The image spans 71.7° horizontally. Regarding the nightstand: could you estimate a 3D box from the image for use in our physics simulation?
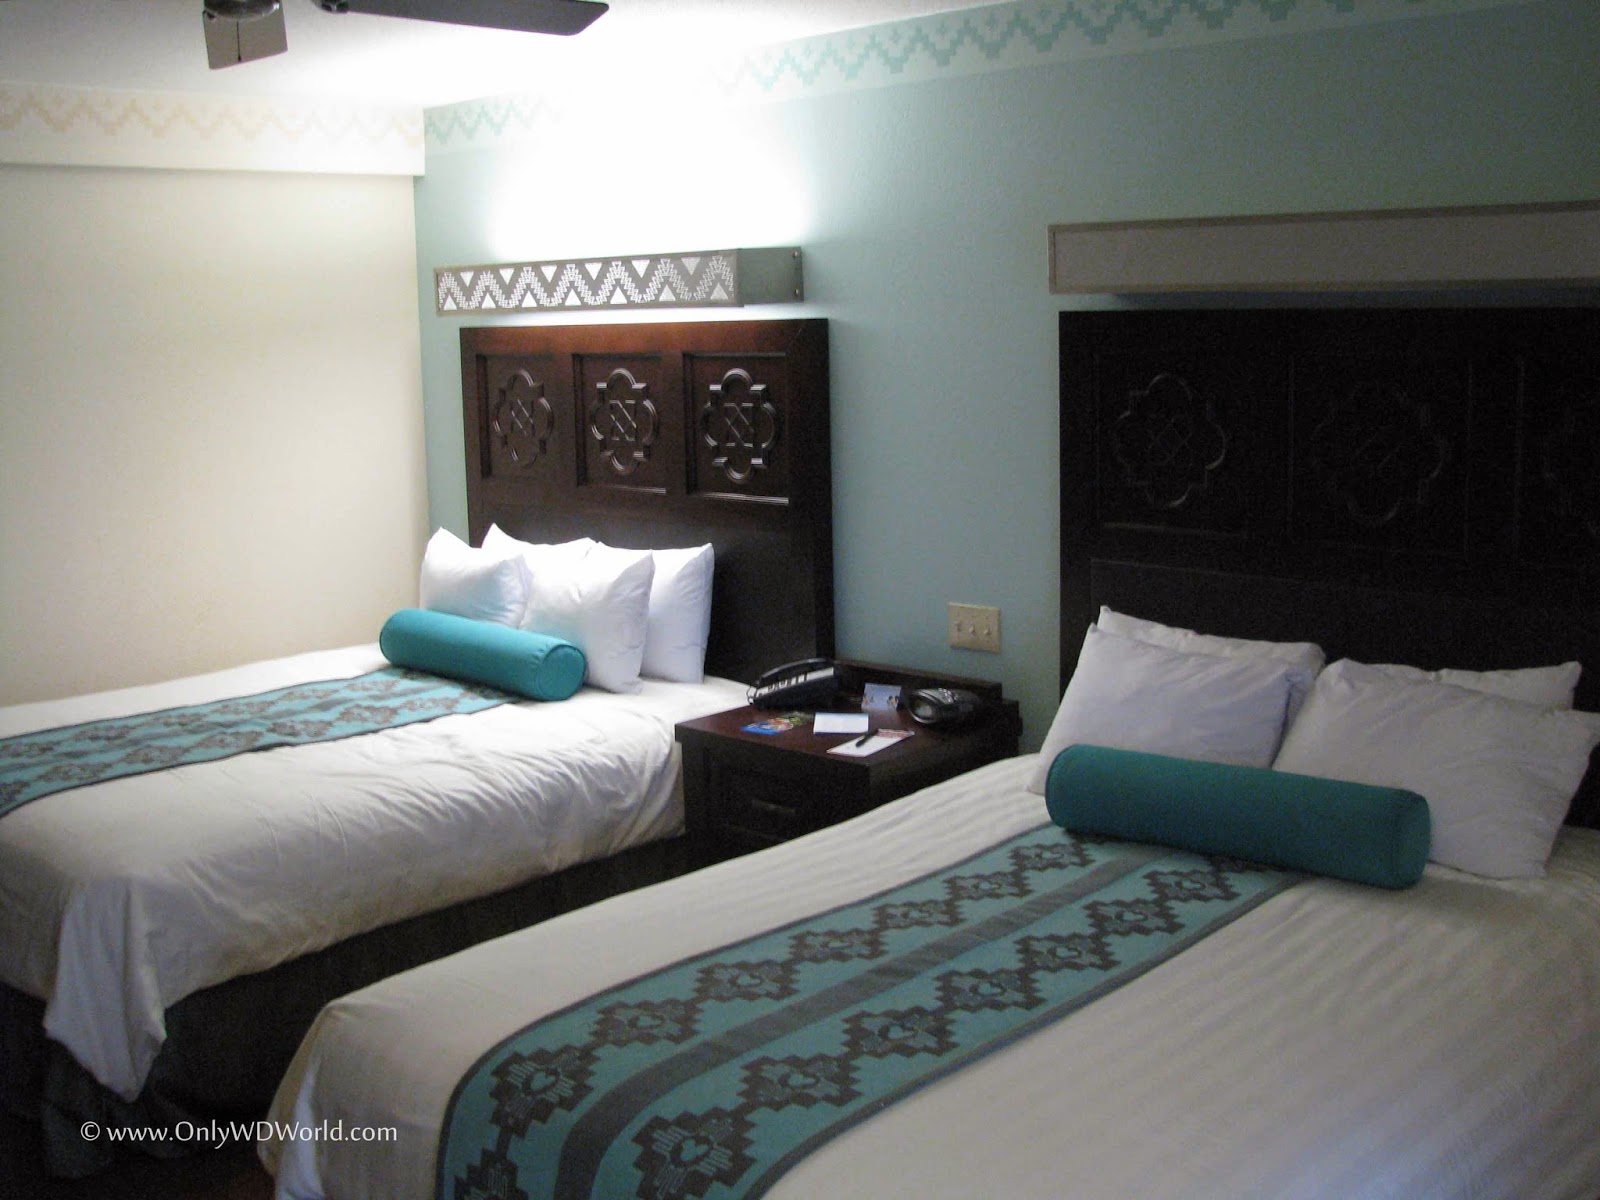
[{"bbox_3d":[0.154,0.516,3.635,0.724,0.742,0.757,6,10,40],"label":"nightstand"}]

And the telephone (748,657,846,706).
[{"bbox_3d":[-0.017,0.270,3.788,0.218,0.110,0.161,-2,5,-10],"label":"telephone"}]

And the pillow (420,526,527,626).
[{"bbox_3d":[-1.335,-0.090,4.559,0.428,0.273,0.147,4,3,36],"label":"pillow"}]

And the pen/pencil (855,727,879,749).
[{"bbox_3d":[0.206,0.424,3.436,0.025,0.017,0.144,4,11,20],"label":"pen/pencil"}]
